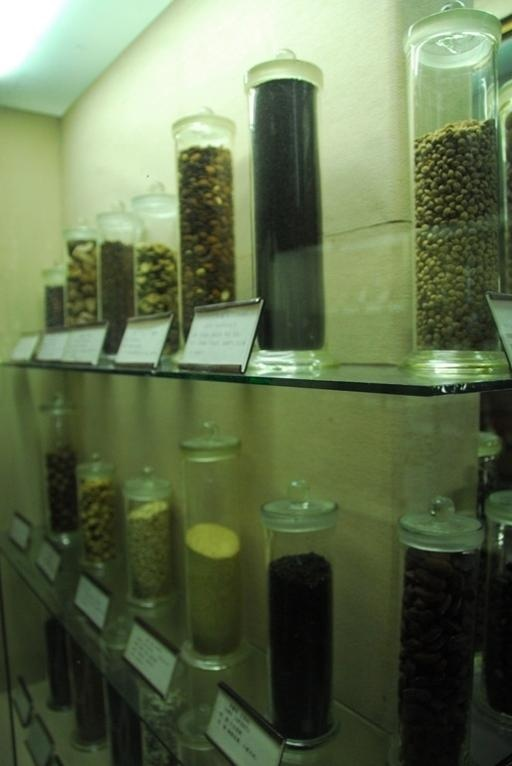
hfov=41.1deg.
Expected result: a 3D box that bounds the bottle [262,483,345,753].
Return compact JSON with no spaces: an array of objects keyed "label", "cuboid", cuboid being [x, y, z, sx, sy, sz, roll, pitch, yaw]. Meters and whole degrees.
[{"label":"bottle","cuboid":[0.061,0.277,0.853,0.094,0.299,0.137,-4,8,5]}]

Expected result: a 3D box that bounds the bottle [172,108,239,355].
[{"label":"bottle","cuboid":[-0.070,-0.244,1.014,0.093,0.309,0.125,-4,8,0]}]

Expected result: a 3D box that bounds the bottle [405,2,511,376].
[{"label":"bottle","cuboid":[0.218,-0.211,0.741,0.110,0.385,0.166,-3,9,12]}]

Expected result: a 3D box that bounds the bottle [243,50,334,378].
[{"label":"bottle","cuboid":[0.036,-0.204,0.816,0.103,0.367,0.155,-3,8,7]}]
